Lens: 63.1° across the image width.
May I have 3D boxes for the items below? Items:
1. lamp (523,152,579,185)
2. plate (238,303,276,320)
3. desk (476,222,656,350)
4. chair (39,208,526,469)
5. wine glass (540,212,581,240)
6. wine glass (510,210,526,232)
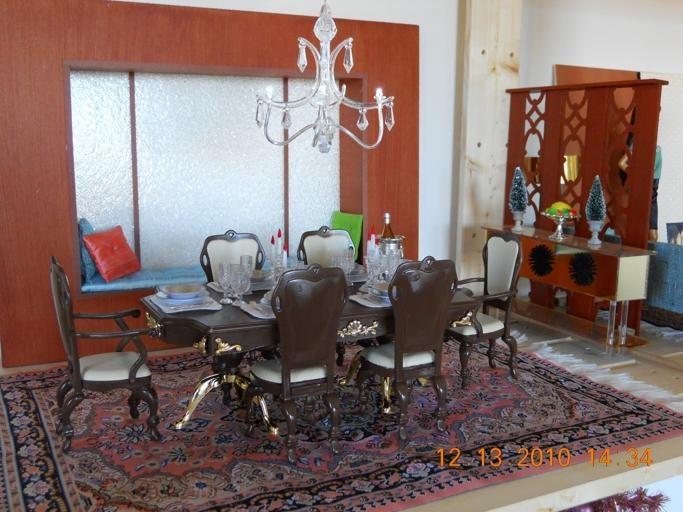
[{"bbox_3d":[2.484,-0.997,6.494,0.187,0.361,0.720,-12,18,-33],"label":"lamp"},{"bbox_3d":[-0.558,0.367,3.743,0.134,0.009,0.147,-7,19,-31],"label":"plate"},{"bbox_3d":[2.477,0.324,6.097,0.409,0.873,1.823,4,5,-14],"label":"desk"},{"bbox_3d":[-0.405,0.454,4.244,3.197,1.322,1.295,-5,17,-21],"label":"chair"},{"bbox_3d":[2.340,-0.345,5.992,0.342,0.228,0.346,13,19,43],"label":"wine glass"},{"bbox_3d":[2.051,-0.399,6.444,0.217,0.238,0.210,-4,11,-10],"label":"wine glass"}]
